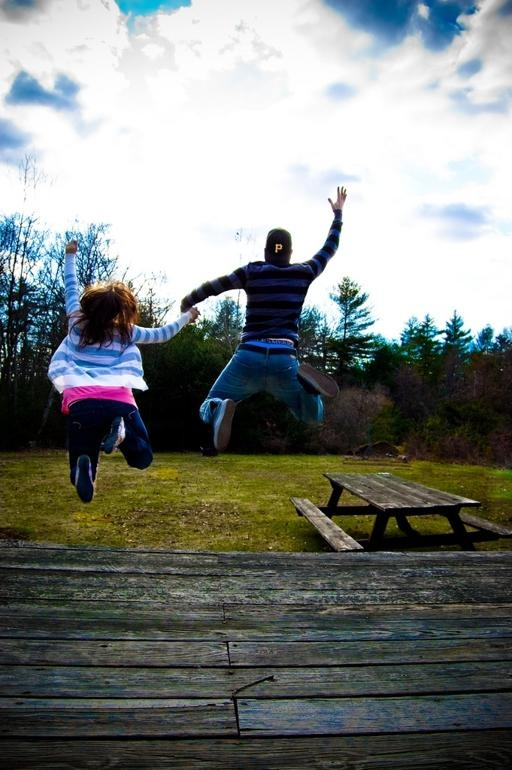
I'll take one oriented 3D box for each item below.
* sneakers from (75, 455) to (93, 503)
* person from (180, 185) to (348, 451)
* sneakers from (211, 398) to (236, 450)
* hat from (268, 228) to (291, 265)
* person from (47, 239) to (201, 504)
[{"bbox_3d":[-0.880,0.490,3.831,0.096,0.247,0.112,-3,-21,-18],"label":"sneakers"},{"bbox_3d":[0.034,-0.350,4.832,1.040,1.329,0.562,3,4,-8],"label":"person"},{"bbox_3d":[-0.162,0.269,4.699,0.124,0.348,0.159,5,9,-16],"label":"sneakers"},{"bbox_3d":[0.129,-0.844,4.758,0.193,0.210,0.234,4,-12,-4],"label":"hat"},{"bbox_3d":[-0.763,0.007,4.103,0.455,1.137,0.730,7,5,39],"label":"person"}]
